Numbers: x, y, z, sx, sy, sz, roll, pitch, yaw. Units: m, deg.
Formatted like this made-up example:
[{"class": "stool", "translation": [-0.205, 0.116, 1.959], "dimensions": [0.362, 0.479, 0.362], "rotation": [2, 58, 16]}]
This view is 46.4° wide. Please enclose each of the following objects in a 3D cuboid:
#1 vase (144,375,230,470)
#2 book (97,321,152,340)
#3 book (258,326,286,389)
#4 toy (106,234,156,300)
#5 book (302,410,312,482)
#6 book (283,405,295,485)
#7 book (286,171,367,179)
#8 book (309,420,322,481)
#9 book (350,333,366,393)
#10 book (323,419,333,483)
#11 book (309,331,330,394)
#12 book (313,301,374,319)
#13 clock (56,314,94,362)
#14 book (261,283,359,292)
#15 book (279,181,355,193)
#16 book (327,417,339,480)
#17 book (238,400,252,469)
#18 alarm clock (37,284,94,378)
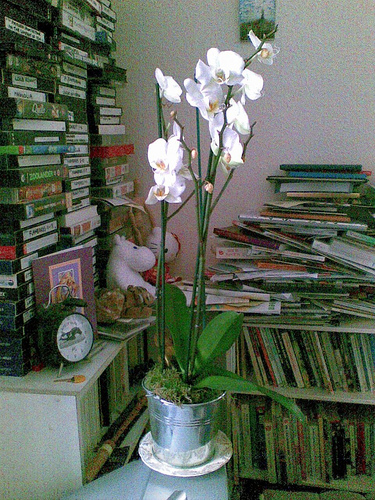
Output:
[{"class": "vase", "translation": [0.021, 0.338, 0.828], "dimensions": [0.181, 0.130, 0.166], "rotation": [3, -5, 0]}, {"class": "book", "translation": [-0.179, 0.223, 1.241], "dimensions": [0.155, 0.027, 0.106], "rotation": [-2, 14, -10]}, {"class": "book", "translation": [0.274, 0.335, 1.403], "dimensions": [0.029, 0.183, 0.255], "rotation": [-23, -3, 6]}, {"class": "toy", "translation": [-0.181, 0.061, 1.454], "dimensions": [0.191, 0.231, 0.165], "rotation": [1, 6, 21]}, {"class": "book", "translation": [0.400, 0.657, 1.461], "dimensions": [0.014, 0.236, 0.055], "rotation": [-5, -13, 39]}, {"class": "book", "translation": [0.342, 0.649, 1.466], "dimensions": [0.040, 0.247, 0.022], "rotation": [-7, -15, 32]}, {"class": "book", "translation": [0.433, -0.251, 1.452], "dimensions": [0.292, 0.017, 0.121], "rotation": [11, 17, 37]}, {"class": "book", "translation": [0.424, 0.666, 1.454], "dimensions": [0.053, 0.217, 0.004], "rotation": [-3, 2, 1]}, {"class": "book", "translation": [0.539, 0.354, 1.379], "dimensions": [0.059, 0.192, 0.020], "rotation": [14, 20, 41]}, {"class": "book", "translation": [0.469, 0.696, 1.471], "dimensions": [0.028, 0.018, 0.148], "rotation": [18, 48, -6]}, {"class": "book", "translation": [0.422, 0.349, 1.389], "dimensions": [0.025, 0.213, 0.026], "rotation": [-17, 2, -11]}, {"class": "book", "translation": [0.474, 0.187, 1.327], "dimensions": [0.180, 0.034, 0.050], "rotation": [5, 15, 18]}, {"class": "clock", "translation": [-0.269, 0.205, 1.025], "dimensions": [0.020, 0.102, 0.111], "rotation": [-3, -19, 25]}, {"class": "book", "translation": [0.380, 0.113, 1.386], "dimensions": [0.287, 0.015, 0.032], "rotation": [2, 14, 7]}, {"class": "book", "translation": [0.412, -0.206, 1.422], "dimensions": [0.239, 0.043, 0.037], "rotation": [7, 16, 26]}, {"class": "book", "translation": [0.488, 0.661, 1.453], "dimensions": [0.028, 0.217, 0.050], "rotation": [-7, 17, -23]}, {"class": "book", "translation": [0.196, 0.624, 1.480], "dimensions": [0.035, 0.248, 0.056], "rotation": [-10, 18, -33]}, {"class": "alarm clock", "translation": [-0.295, 0.180, 1.039], "dimensions": [0.097, 0.188, 0.129], "rotation": [10, 18, 33]}]
